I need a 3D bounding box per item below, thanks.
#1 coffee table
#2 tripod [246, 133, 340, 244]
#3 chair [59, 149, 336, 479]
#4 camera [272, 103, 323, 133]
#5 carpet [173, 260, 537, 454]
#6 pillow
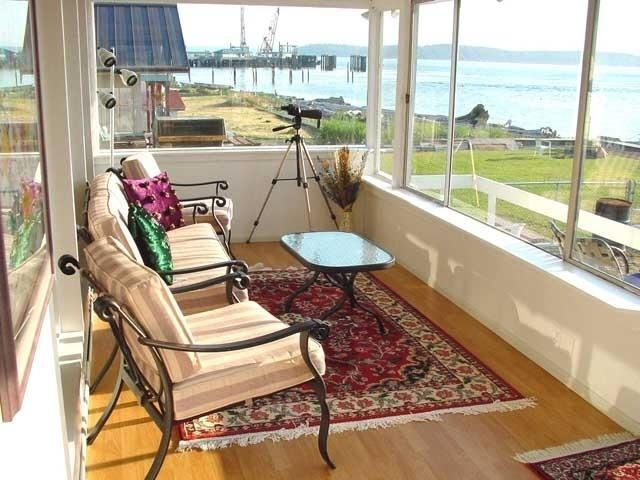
[{"bbox_3d":[0.269,0.528,4.238,0.824,0.706,1.374,-5,-9,5],"label":"coffee table"},{"bbox_3d":[-0.386,-0.645,5.900,1.202,1.457,0.887,-6,19,-20],"label":"tripod"},{"bbox_3d":[-0.891,0.420,2.909,1.190,1.235,2.056,-10,21,-24],"label":"chair"},{"bbox_3d":[-0.302,-1.505,5.850,0.485,0.357,0.701,-6,20,-13],"label":"camera"},{"bbox_3d":[-0.042,0.704,3.991,2.165,0.009,2.876,0,15,-22],"label":"carpet"},{"bbox_3d":[-1.229,-0.095,3.443,0.193,0.266,0.973,-10,22,-3],"label":"pillow"}]
